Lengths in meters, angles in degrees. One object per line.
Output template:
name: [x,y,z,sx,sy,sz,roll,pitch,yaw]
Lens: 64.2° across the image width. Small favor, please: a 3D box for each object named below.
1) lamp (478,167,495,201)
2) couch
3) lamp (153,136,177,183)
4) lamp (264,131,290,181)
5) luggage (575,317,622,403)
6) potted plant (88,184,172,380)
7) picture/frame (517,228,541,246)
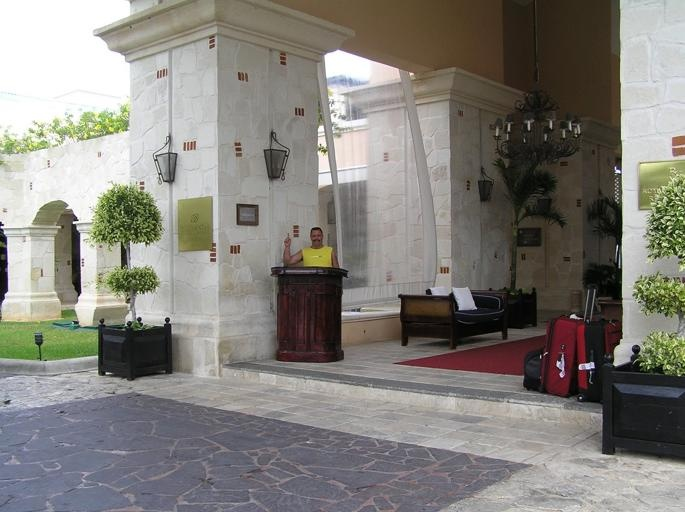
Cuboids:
lamp: [3.149,-1.570,11.904,0.239,0.755,0.639,0,2,37]
couch: [1.903,1.026,9.282,1.812,0.888,0.940,-2,2,-35]
lamp: [-2.559,-1.389,7.883,0.202,0.689,0.476,-3,3,-39]
lamp: [-0.901,-1.456,7.861,0.213,0.705,0.483,1,3,45]
luggage: [2.291,0.942,4.915,0.286,0.671,0.751,2,-2,30]
potted plant: [-2.936,0.283,7.601,1.003,2.667,1.066,-2,2,-25]
picture/frame: [4.841,-0.512,14.121,0.471,0.395,0.157,-3,-8,31]
